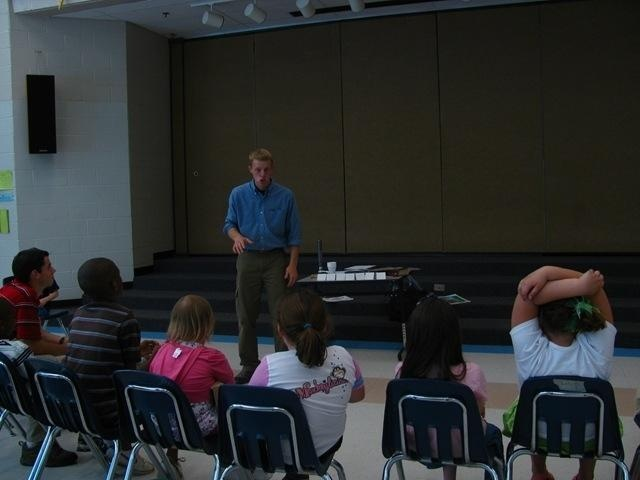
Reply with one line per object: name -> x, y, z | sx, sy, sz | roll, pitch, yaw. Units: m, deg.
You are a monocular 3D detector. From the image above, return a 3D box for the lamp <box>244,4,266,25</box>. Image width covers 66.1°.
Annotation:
lamp -> -0.775, -2.742, 5.847 | 0.203, 0.246, 0.340 | 2, 4, 13

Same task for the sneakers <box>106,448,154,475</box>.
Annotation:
sneakers -> -1.127, 1.332, 2.936 | 0.250, 0.114, 0.140 | 1, 2, -8

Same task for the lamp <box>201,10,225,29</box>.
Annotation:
lamp -> -1.374, -2.833, 6.309 | 0.247, 0.287, 0.214 | -4, 31, -36

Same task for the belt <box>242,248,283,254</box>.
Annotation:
belt -> -0.494, 0.091, 4.281 | 0.353, 0.057, 0.102 | 1, 4, -15

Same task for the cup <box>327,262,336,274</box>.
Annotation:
cup -> 0.103, 0.256, 4.698 | 0.086, 0.110, 0.094 | -1, 1, 0

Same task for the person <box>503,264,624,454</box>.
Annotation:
person -> 1.259, 0.513, 2.506 | 0.557, 0.436, 1.183 | 0, -31, 28

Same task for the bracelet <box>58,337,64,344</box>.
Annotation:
bracelet -> -1.784, 0.689, 3.392 | 0.025, 0.044, 0.038 | 1, 0, -33
